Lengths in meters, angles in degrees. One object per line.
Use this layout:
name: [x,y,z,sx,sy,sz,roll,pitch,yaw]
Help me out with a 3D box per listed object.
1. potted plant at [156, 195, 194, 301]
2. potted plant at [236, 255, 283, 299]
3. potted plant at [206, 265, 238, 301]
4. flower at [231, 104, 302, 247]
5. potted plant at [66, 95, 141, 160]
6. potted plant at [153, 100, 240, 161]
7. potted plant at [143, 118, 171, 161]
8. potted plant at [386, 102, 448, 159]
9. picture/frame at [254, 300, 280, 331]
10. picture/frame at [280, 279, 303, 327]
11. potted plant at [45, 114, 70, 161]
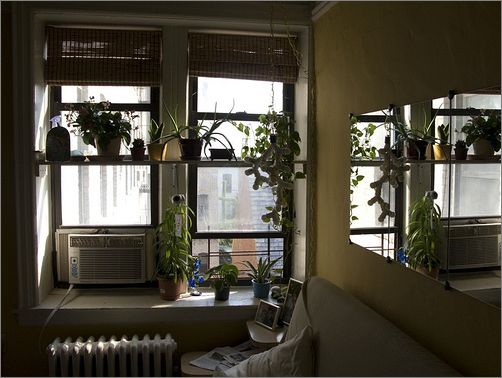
potted plant: [-0.549,0.412,3.269,0.284,0.755,0.274,-2,4,-14]
potted plant: [0.082,0.626,3.355,0.254,0.257,0.279,0,-2,17]
potted plant: [-0.207,0.655,3.233,0.209,0.179,0.226,-1,-7,24]
flower: [0.075,-0.179,2.808,0.252,0.569,0.287,4,43,-14]
potted plant: [-0.997,-0.420,3.148,0.439,0.390,0.421,8,10,13]
potted plant: [-0.383,-0.376,3.139,0.414,0.333,0.463,-3,-3,33]
potted plant: [-0.664,-0.355,3.136,0.143,0.280,0.132,-2,6,-45]
potted plant: [0.772,-0.234,2.055,0.196,0.229,0.286,4,7,21]
picture/frame: [0.107,0.864,3.044,0.018,0.138,0.136,9,-4,-39]
picture/frame: [0.263,0.750,2.922,0.025,0.270,0.277,13,-15,-9]
potted plant: [-1.304,-0.341,3.031,0.147,0.307,0.153,-5,-7,-23]
